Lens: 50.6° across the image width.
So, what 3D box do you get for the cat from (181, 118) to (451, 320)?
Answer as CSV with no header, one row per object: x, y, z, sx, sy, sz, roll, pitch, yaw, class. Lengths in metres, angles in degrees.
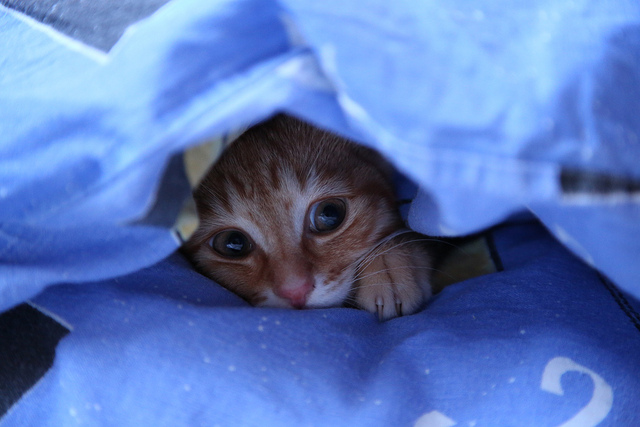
-0.014,0.079,1.671,0.432,0.583,0.321,-29,70,15,cat
